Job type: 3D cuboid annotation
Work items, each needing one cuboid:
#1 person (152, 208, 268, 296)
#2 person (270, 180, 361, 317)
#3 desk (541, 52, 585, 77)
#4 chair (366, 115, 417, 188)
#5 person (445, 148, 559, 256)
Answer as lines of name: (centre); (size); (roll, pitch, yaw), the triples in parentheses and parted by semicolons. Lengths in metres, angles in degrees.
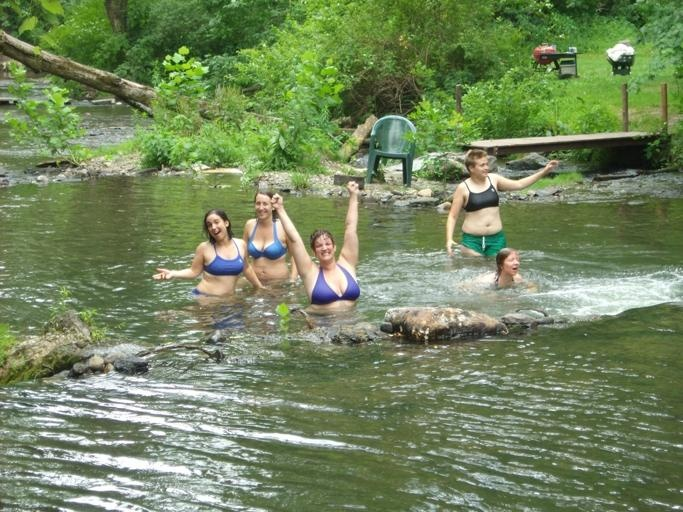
person: (-1.548, -0.041, 9.943); (1.003, 1.042, 0.367); (-3, 8, -2)
person: (-0.268, -0.098, 9.369); (0.981, 1.468, 0.491); (-5, 8, -12)
desk: (8.789, -7.725, 32.567); (1.727, 0.833, 1.548); (0, 5, 5)
chair: (1.173, -2.478, 19.151); (1.136, 1.638, 1.554); (-3, 7, 6)
person: (2.057, -0.757, 11.569); (1.152, 1.489, 0.565); (-2, 8, 10)
